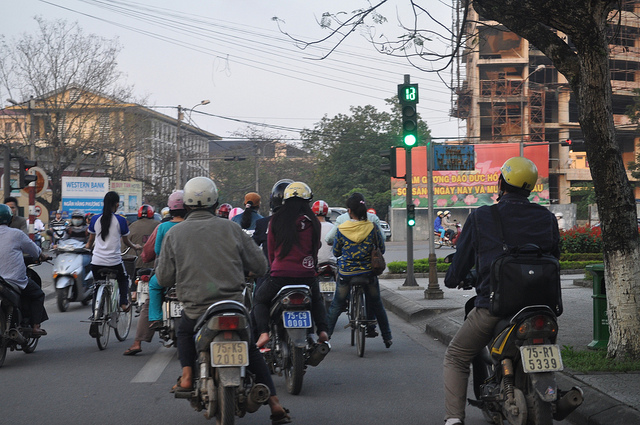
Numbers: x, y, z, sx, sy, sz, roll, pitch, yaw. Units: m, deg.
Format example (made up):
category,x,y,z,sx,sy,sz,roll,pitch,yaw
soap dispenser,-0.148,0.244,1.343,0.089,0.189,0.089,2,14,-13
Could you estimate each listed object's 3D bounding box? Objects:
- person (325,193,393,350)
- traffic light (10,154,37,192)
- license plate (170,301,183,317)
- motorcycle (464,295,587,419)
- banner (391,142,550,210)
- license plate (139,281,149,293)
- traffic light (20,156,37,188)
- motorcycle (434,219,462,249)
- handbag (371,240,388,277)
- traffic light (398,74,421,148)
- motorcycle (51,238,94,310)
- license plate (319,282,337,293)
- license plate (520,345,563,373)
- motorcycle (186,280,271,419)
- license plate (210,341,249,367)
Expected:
category,x,y,z,sx,sy,sz,roll,pitch,yaw
person,0.646,0.961,12.555,1.042,2.524,1.089,0,0,0
traffic light,-8.201,-1.081,21.760,0.697,0.905,0.831,0,0,-20
license plate,-2.106,1.444,11.644,0.114,0.231,0.290,0,0,-34
motorcycle,2.231,1.656,8.637,1.168,1.314,0.496,0,0,42
banner,9.213,-2.351,48.965,9.719,4.222,0.063,-1,-12,13
license plate,-2.819,1.203,12.629,0.190,0.170,0.183,2,-2,-30
traffic light,-8.163,-1.073,22.029,0.443,0.832,1.311,0,0,-20
motorcycle,6.096,1.009,36.634,2.051,1.289,0.811,-2,7,-1
handbag,0.973,0.737,12.715,0.205,0.539,0.804,0,0,8
traffic light,1.942,-2.082,17.224,0.443,1.363,0.427,0,0,0
motorcycle,-5.349,1.305,17.209,0.728,1.478,2.108,2,0,-1
license plate,0.146,1.303,13.626,0.432,0.234,0.056,-1,6,2
license plate,2.363,1.555,8.381,0.339,0.226,0.046,-1,-6,-1
motorcycle,-1.051,1.761,9.305,0.948,1.562,1.297,0,0,-5
license plate,-1.008,1.573,8.731,0.292,0.196,0.038,-3,-2,-1
